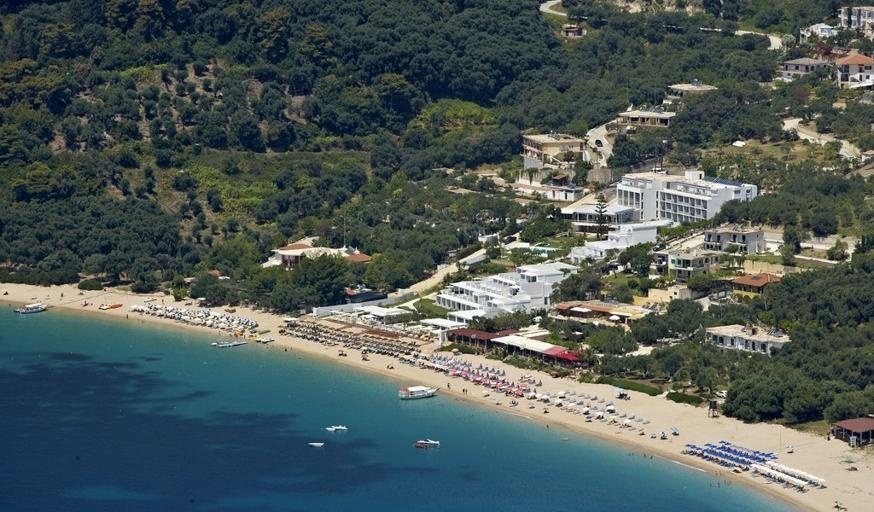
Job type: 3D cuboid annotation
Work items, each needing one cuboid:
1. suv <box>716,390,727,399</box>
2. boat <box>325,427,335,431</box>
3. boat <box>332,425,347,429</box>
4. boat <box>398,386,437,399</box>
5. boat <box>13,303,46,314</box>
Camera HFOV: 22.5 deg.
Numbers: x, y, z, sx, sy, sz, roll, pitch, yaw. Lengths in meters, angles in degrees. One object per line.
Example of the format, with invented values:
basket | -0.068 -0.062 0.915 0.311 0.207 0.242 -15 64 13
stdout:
suv | 40.323 19.772 313.995 1.074 1.292 2.199 3 5 -35
boat | -15.521 25.003 316.369 0.825 0.262 0.586 0 28 -3
boat | -14.047 24.743 316.468 1.517 0.322 0.776 2 7 -2
boat | -2.922 20.029 321.383 5.594 1.784 1.862 -6 36 -10
boat | -64.504 8.351 349.418 3.828 0.815 1.949 -4 16 -11
